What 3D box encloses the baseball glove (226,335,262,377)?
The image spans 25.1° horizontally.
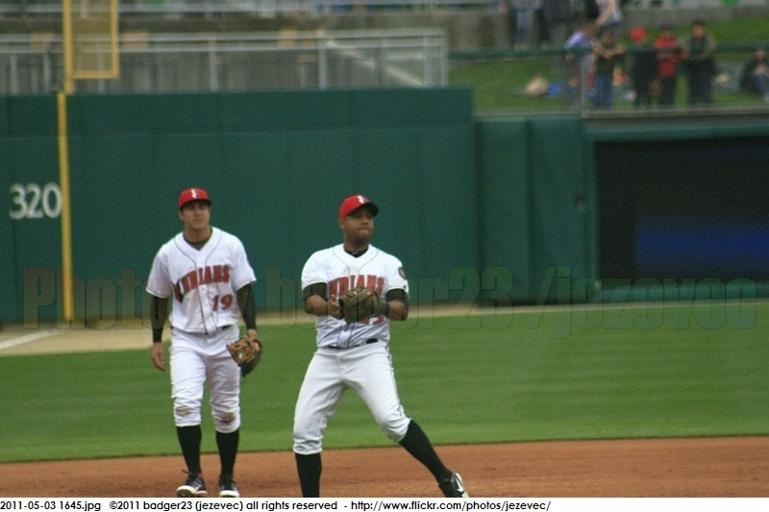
[{"bbox_3d":[-1.688,1.170,20.883,0.202,0.692,0.483,-20,32,-12],"label":"baseball glove"}]

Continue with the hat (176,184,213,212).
[{"bbox_3d":[-2.274,-0.679,20.809,0.363,0.248,0.216,-2,3,-7],"label":"hat"}]

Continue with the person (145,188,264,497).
[{"bbox_3d":[-2.156,1.080,20.811,1.295,3.755,0.570,-2,3,-8],"label":"person"}]

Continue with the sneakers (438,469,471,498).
[{"bbox_3d":[0.825,2.763,20.238,0.212,0.180,0.491,33,25,-31],"label":"sneakers"}]

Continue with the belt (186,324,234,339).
[{"bbox_3d":[-2.073,0.918,20.754,0.562,0.112,0.057,-2,3,-11],"label":"belt"}]
